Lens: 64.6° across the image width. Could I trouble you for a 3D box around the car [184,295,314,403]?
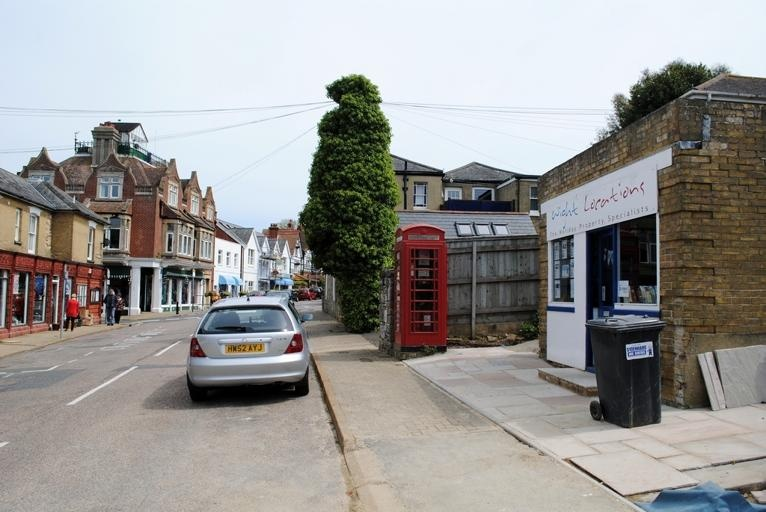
[{"bbox_3d":[-2.602,1.685,11.727,1.484,1.203,2.706,0,0,-5],"label":"car"}]
